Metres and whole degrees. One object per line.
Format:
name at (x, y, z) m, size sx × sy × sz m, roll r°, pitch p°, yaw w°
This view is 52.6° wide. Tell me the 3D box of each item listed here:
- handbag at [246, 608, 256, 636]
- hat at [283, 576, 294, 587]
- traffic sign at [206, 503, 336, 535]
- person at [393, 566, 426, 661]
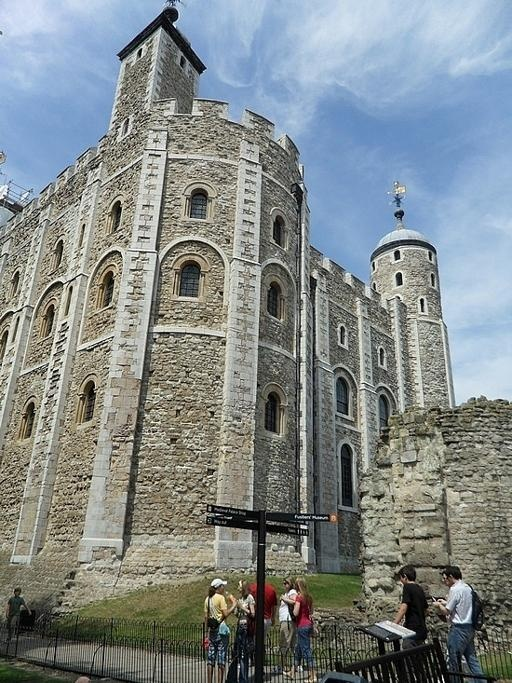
handbag at (-0.070, 4.065, 7.414) m, size 0.094 × 0.304 × 0.224 m, roll -3°, pitch -24°, yaw 6°
hat at (0.497, 3.665, 7.900) m, size 0.116 × 0.128 × 0.130 m, roll -7°, pitch -38°, yaw 14°
traffic sign at (0.113, 2.608, 7.620) m, size 1.620 × 0.431 × 2.273 m, roll 1°, pitch -23°, yaw -4°
person at (1.775, 3.016, 5.956) m, size 0.338 × 0.806 × 0.768 m, roll -7°, pitch -25°, yaw 14°
